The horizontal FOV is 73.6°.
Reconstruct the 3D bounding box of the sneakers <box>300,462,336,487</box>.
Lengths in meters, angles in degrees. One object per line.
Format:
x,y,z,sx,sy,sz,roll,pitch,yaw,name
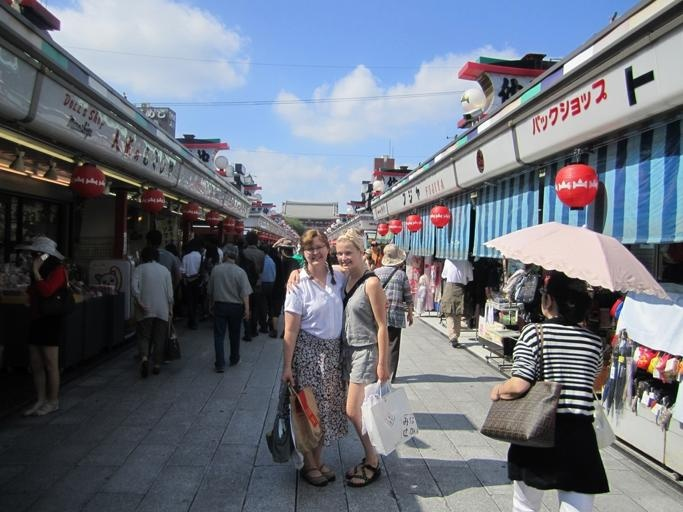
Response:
-0.218,1.874,3.959,0.217,0.078,0.164,1,-1,37,sneakers

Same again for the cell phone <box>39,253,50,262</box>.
-3.348,0.018,5.152,0.068,0.072,0.017,20,-10,10,cell phone

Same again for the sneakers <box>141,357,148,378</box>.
-2.741,1.554,6.388,0.113,0.255,0.049,0,-4,3,sneakers

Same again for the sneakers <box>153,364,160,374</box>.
-2.657,1.641,6.587,0.097,0.093,0.160,1,-1,-5,sneakers

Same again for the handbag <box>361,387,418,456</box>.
0.407,1.302,3.754,0.466,0.507,0.232,-1,4,-30,handbag

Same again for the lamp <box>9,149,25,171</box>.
-4.467,-1.322,6.313,0.145,0.273,0.313,-2,5,-38,lamp

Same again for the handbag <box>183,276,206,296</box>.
-3.168,0.585,10.023,0.455,0.684,0.366,-1,4,-39,handbag

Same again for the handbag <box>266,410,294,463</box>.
-0.498,1.486,3.756,0.257,0.414,0.182,2,4,7,handbag

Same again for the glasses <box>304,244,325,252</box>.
-0.234,-0.058,3.919,0.175,0.058,0.050,0,4,-13,glasses

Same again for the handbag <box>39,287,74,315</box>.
-3.167,0.505,5.070,0.263,0.391,0.113,5,-12,-45,handbag

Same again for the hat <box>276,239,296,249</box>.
-1.323,-0.287,10.381,0.409,0.141,0.438,4,1,8,hat

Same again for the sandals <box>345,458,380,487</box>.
0.180,1.895,4.000,0.276,0.127,0.150,0,1,-38,sandals

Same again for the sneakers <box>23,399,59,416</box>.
-3.340,1.698,5.124,0.122,0.232,0.302,-1,-14,39,sneakers

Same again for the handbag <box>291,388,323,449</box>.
-0.292,1.324,3.723,0.178,0.499,0.406,-7,-10,-5,handbag

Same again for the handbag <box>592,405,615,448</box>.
1.786,1.176,3.119,0.114,0.361,0.397,4,4,33,handbag

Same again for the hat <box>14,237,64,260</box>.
-4.510,-0.117,6.742,0.400,0.163,0.419,9,-8,9,hat
